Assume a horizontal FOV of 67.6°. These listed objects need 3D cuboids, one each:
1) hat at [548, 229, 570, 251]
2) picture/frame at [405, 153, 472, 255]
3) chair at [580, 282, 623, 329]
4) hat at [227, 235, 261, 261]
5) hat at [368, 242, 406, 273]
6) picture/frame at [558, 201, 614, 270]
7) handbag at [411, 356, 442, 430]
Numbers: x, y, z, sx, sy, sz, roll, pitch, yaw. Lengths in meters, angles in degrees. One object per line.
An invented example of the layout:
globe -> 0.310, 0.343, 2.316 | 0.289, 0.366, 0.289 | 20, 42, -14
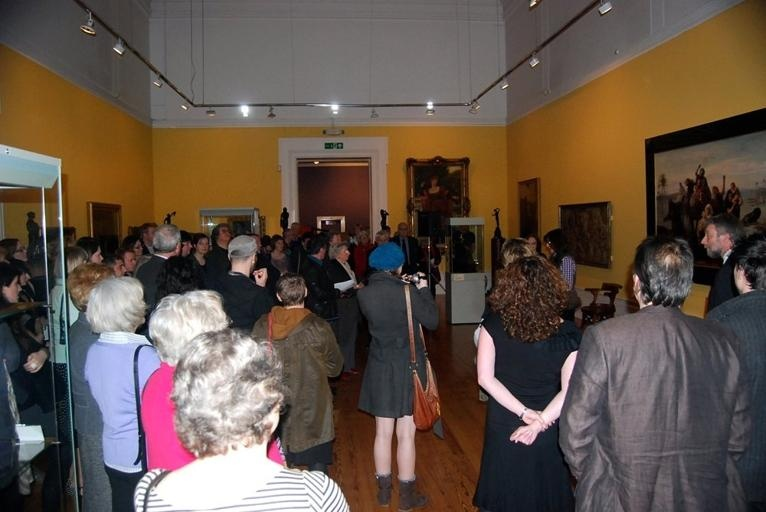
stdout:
hat -> 2.531, -0.228, 8.301 | 0.236, 0.375, 0.253 | -19, -19, 12
picture/frame -> 1.203, -1.188, 13.297 | 2.166, 3.072, 0.400 | 0, -3, -8
chair -> 3.663, 0.871, 9.762 | 0.651, 0.904, 0.639 | 11, -6, -4
hat -> -1.350, -0.086, 5.561 | 0.248, 0.218, 0.265 | -3, 11, -5
hat -> 0.018, 0.022, 5.294 | 0.260, 0.091, 0.272 | -33, 49, -11
picture/frame -> 3.702, -0.397, 10.647 | 1.316, 1.224, 0.077 | 1, -3, -28
handbag -> 0.384, 1.285, 5.158 | 0.217, 0.655, 0.313 | -1, 10, 6
